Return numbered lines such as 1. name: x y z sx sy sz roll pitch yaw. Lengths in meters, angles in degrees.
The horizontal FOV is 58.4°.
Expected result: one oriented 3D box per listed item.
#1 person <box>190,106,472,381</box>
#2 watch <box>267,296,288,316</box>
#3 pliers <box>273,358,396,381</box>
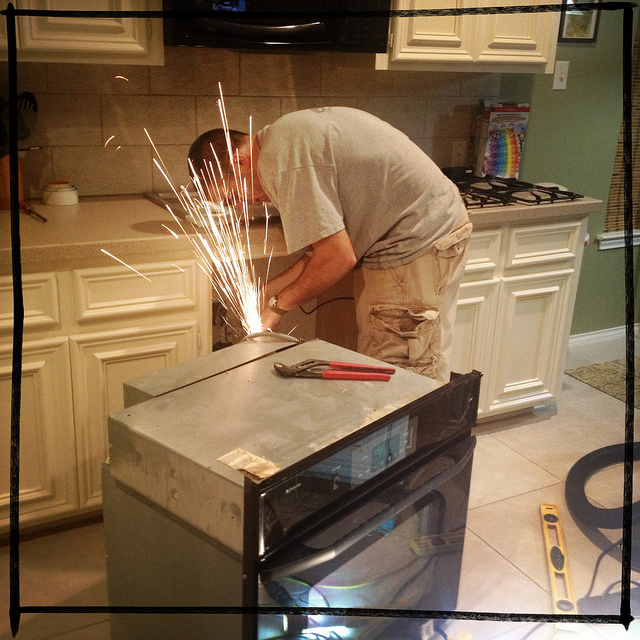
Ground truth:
1. person: 0.101 -0.360 2.041 0.856 1.348 0.629 3 20 11
2. watch: -0.118 -0.036 1.557 0.024 0.053 0.044 -38 5 -14
3. pliers: 0.021 0.061 0.990 0.163 0.035 0.156 -1 14 -27
